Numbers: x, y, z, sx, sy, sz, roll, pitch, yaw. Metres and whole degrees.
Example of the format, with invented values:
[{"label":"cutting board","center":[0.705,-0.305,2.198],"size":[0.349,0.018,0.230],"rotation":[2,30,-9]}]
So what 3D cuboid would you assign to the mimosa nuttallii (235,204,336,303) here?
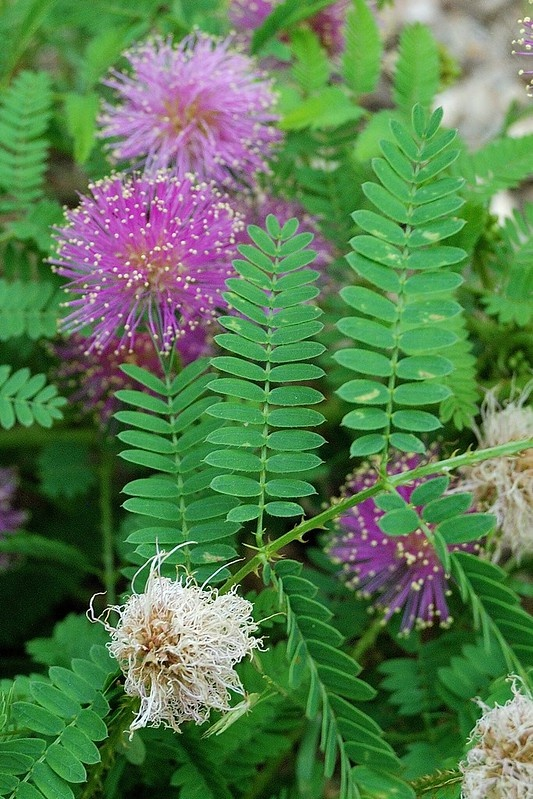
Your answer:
[{"label":"mimosa nuttallii","center":[0.039,-0.225,1.091],"size":[0.080,0.140,0.134],"rotation":[-15,-4,19]}]

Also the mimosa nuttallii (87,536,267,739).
[{"label":"mimosa nuttallii","center":[-0.082,0.201,0.641],"size":[0.135,0.067,0.144],"rotation":[13,28,8]}]
